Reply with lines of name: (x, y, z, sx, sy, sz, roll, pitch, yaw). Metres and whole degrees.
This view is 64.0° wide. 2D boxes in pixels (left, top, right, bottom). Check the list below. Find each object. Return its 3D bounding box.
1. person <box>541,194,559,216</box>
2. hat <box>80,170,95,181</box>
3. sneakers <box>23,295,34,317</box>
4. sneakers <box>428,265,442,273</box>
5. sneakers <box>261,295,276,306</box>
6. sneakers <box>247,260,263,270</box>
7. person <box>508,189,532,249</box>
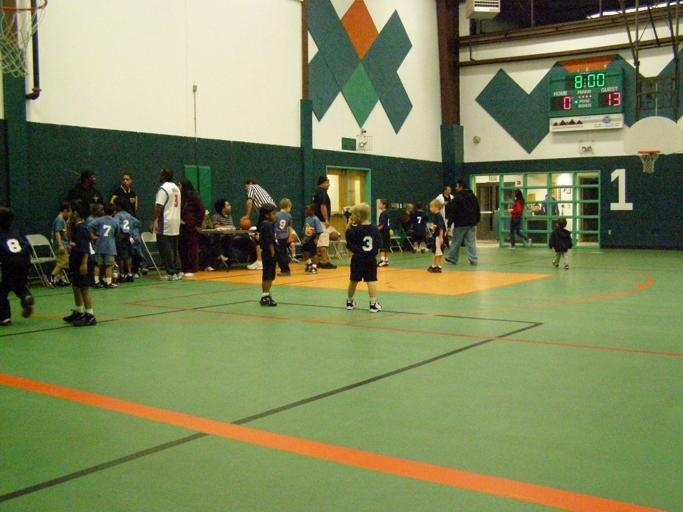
person: (7.283, -1.768, 18.766, 0.639, 0.746, 0.841, 0, 5, 10)
hat: (-4.851, -1.523, 10.376, 0.238, 0.274, 0.208, -3, 8, -11)
sneakers: (-3.593, 0.566, 6.245, 0.082, 0.252, 0.104, 10, 7, -29)
sneakers: (1.902, 0.251, 11.047, 0.241, 0.194, 0.120, 5, 5, 17)
sneakers: (-0.993, 0.604, 7.440, 0.232, 0.168, 0.109, -1, 3, -5)
sneakers: (-1.946, 0.205, 12.317, 0.427, 0.235, 0.170, 2, 2, 9)
person: (6.075, -1.288, 18.458, 0.644, 1.895, 1.529, 1, 5, 18)
